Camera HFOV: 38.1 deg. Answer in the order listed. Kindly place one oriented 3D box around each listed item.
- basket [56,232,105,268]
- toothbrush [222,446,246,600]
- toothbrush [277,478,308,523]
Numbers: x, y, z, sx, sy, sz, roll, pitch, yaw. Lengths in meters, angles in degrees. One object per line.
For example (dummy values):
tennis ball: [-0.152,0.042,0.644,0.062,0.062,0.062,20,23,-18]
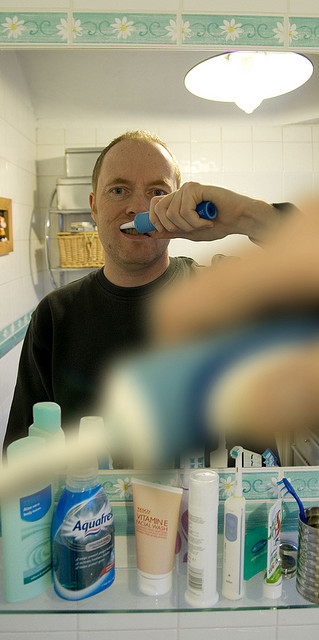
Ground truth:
basket: [-0.141,-0.124,0.819,0.068,0.070,0.069,-3,4,-45]
toothbrush: [0.126,0.341,0.772,0.044,0.277,0.047,1,12,8]
toothbrush: [0.248,0.332,0.862,0.024,0.109,0.029,-30,-11,39]
